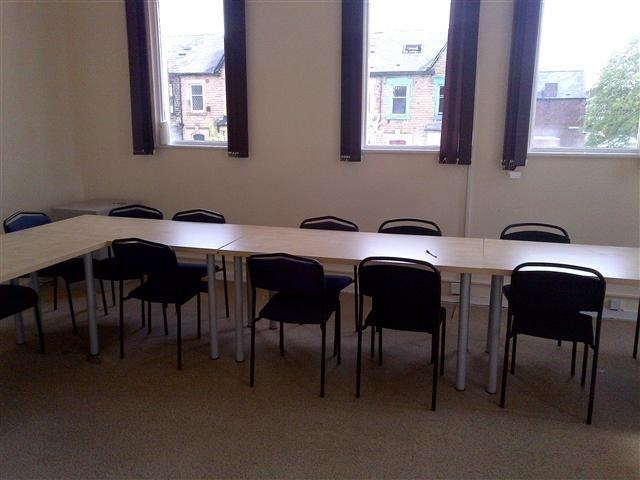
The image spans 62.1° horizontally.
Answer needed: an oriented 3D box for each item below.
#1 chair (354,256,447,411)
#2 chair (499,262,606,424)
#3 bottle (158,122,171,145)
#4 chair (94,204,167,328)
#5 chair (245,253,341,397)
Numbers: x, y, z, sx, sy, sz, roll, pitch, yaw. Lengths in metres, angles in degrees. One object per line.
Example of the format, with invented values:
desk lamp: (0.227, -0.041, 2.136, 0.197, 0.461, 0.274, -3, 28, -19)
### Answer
chair: (0.588, 0.577, 3.777, 0.753, 0.970, 0.741, -4, 9, -34)
chair: (1.599, 0.619, 3.669, 0.625, 1.041, 0.705, 7, 13, 28)
bottle: (-1.784, -1.215, 6.137, 0.123, 0.263, 0.106, -5, 13, -27)
chair: (-1.657, 0.115, 4.694, 0.709, 1.071, 0.751, -1, -12, -25)
chair: (-0.174, 0.527, 3.992, 0.711, 1.007, 0.890, -1, 11, -7)
